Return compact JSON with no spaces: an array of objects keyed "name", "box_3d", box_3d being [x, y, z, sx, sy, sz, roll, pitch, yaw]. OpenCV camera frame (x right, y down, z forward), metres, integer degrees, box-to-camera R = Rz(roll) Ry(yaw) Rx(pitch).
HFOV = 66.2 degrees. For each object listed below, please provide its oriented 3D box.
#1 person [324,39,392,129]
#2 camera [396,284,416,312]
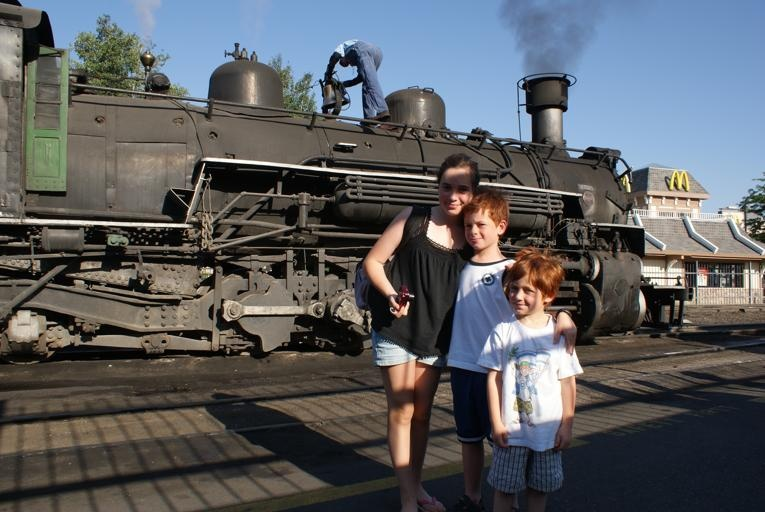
[{"name":"person","box_3d":[-0.537,-3.425,11.831,1.306,1.887,0.772,-14,-17,29]},{"name":"camera","box_3d":[0.186,0.324,4.884,0.102,0.188,0.270,3,4,16]}]
